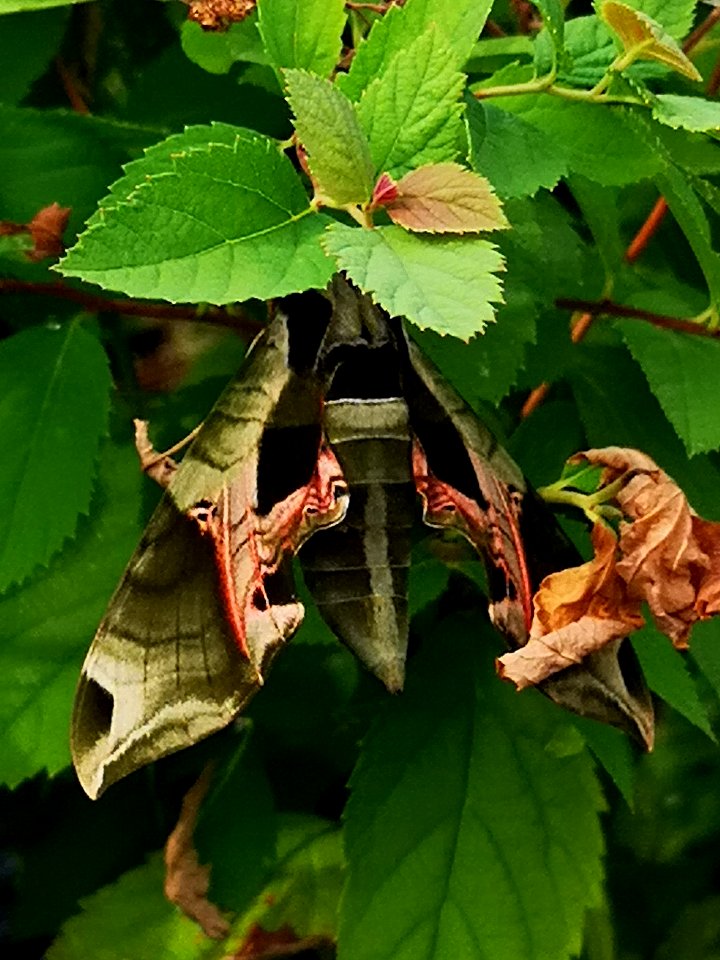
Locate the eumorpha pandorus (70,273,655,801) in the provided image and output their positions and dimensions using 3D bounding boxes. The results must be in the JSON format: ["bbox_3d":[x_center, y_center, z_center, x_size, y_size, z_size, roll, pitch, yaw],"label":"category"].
[{"bbox_3d":[-0.062,0.039,1.095,0.732,0.482,0.201,0,-12,-22],"label":"eumorpha pandorus"}]
